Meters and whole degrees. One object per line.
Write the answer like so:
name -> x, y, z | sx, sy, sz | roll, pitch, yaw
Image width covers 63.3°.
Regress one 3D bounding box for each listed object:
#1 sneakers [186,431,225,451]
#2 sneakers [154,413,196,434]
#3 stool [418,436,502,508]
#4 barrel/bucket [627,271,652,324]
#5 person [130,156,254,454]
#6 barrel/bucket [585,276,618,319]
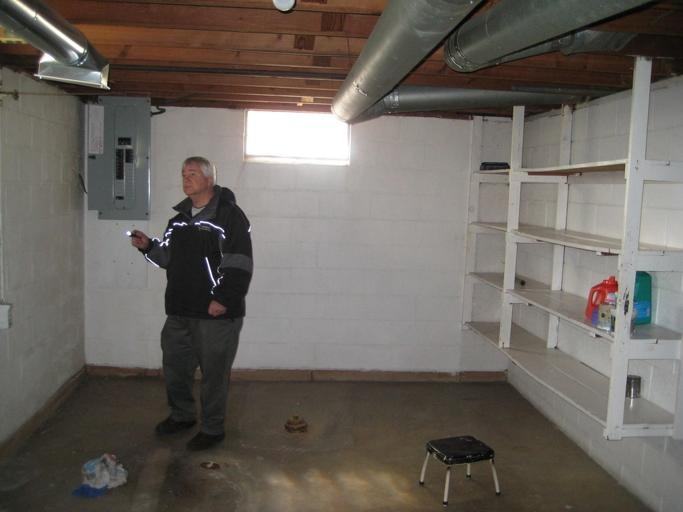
sneakers -> -1.080, 1.443, 4.393 | 0.270, 0.106, 0.103 | 7, 1, -40
sneakers -> -1.393, 1.385, 4.622 | 0.308, 0.128, 0.114 | 4, 3, -29
stool -> 0.839, 1.431, 3.933 | 0.479, 0.352, 0.470 | 0, 3, -13
barrel/bucket -> 2.140, 0.286, 3.900 | 0.269, 0.376, 0.102 | -9, 16, -41
person -> -1.121, 0.350, 4.429 | 0.688, 2.211, 0.699 | -10, 17, -44
barrel/bucket -> 1.860, 0.309, 3.962 | 0.177, 0.324, 0.289 | 8, 14, 24
